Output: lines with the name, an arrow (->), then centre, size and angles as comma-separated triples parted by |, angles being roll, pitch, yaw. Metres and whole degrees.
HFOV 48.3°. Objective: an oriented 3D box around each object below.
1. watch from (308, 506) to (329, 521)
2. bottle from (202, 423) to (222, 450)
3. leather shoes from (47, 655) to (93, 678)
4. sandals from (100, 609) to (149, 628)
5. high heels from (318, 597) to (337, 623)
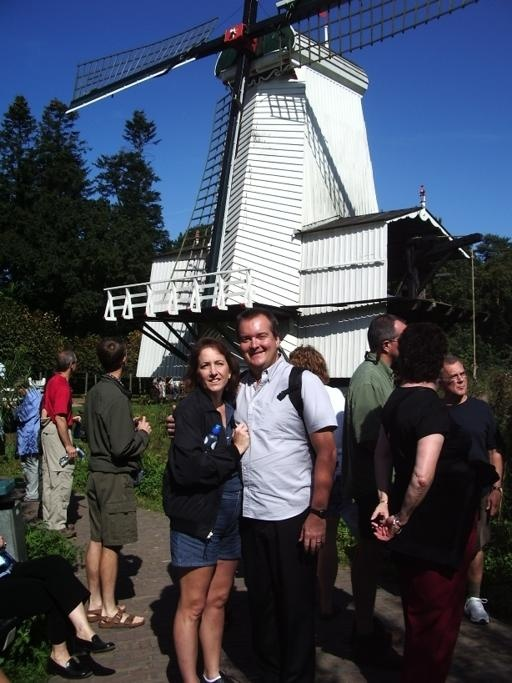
watch -> 0.303, 0.817, 2.737 | 0.068, 0.035, 0.075 | 15, -7, 8
bottle -> -0.226, 0.491, 2.898 | 0.036, 0.035, 0.120 | -3, 32, 20
leather shoes -> -1.011, 1.782, 3.146 | 0.238, 0.090, 0.106 | 0, -10, 5
sandals -> -0.914, 1.890, 3.865 | 0.236, 0.107, 0.122 | -2, -8, -4
high heels -> 0.499, 1.873, 3.992 | 0.079, 0.149, 0.165 | 1, 3, 12
